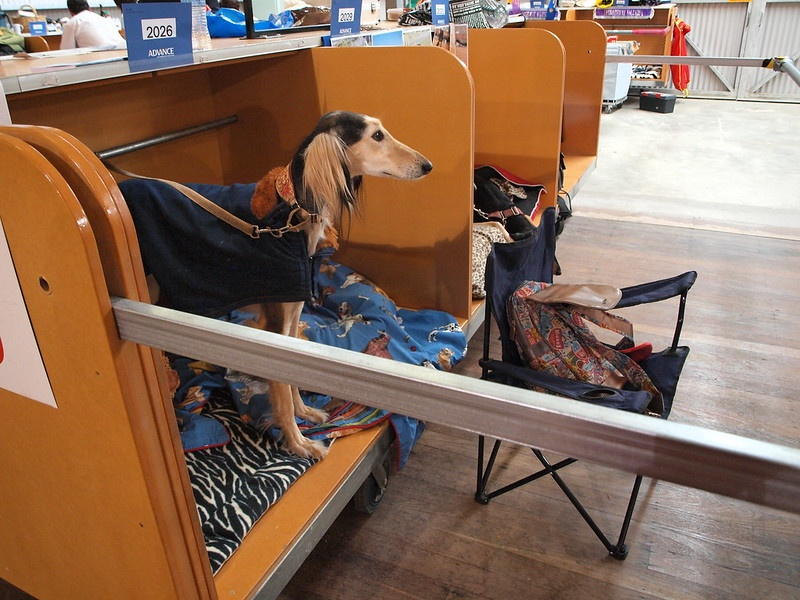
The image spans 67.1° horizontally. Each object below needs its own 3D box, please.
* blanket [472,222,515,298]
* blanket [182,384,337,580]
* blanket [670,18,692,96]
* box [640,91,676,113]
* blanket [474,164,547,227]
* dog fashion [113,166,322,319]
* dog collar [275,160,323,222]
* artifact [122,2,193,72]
[{"bbox_3d":[0.426,-0.235,3.139,0.327,0.384,0.108,11,-20,-35],"label":"blanket"},{"bbox_3d":[-0.505,0.600,1.989,0.369,0.044,0.406,19,35,26],"label":"blanket"},{"bbox_3d":[4.440,-3.794,9.502,0.347,1.082,0.349,-13,26,13],"label":"blanket"},{"bbox_3d":[3.613,-2.768,8.511,0.493,0.286,0.323,24,40,37],"label":"box"},{"bbox_3d":[0.675,-0.746,4.014,0.542,0.545,0.165,15,76,9],"label":"blanket"},{"bbox_3d":[-0.547,-0.200,2.038,0.653,0.345,0.391,3,30,-10],"label":"dog fashion"},{"bbox_3d":[-0.350,-0.358,1.900,0.129,0.156,0.064,45,35,11],"label":"dog collar"},{"bbox_3d":[-0.710,-0.779,1.796,0.045,0.178,0.236,15,32,31],"label":"artifact"}]
